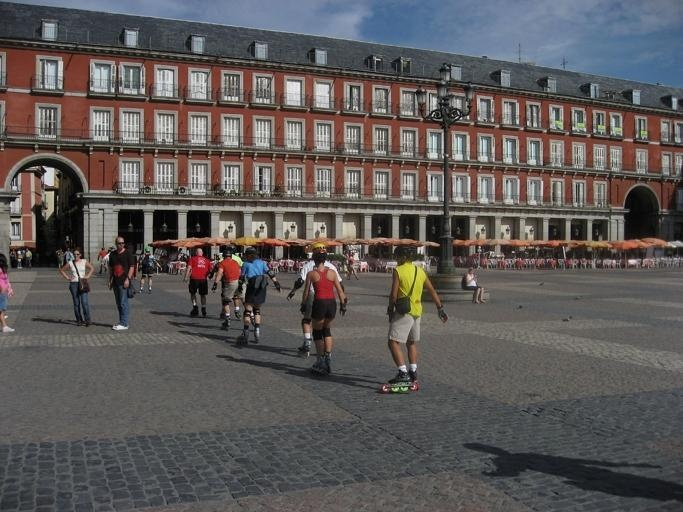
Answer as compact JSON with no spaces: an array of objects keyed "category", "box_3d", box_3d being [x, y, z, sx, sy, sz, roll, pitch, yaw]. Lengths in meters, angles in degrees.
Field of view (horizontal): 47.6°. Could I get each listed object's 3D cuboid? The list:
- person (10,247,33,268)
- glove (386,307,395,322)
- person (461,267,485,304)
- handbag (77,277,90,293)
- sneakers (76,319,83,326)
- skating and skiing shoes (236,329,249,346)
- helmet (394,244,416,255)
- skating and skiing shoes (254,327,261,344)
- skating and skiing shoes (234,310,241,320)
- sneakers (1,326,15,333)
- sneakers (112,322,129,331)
[{"category":"person","box_3d":[-24.176,0.152,58.117,1.402,2.169,0.664,6,12,42]},{"category":"glove","box_3d":[0.785,0.881,11.709,0.091,0.228,0.131,0,4,2]},{"category":"person","box_3d":[4.310,0.899,24.799,0.746,1.140,1.346,1,4,9]},{"category":"handbag","box_3d":[-6.007,0.675,17.922,0.179,0.386,0.431,-11,-8,26]},{"category":"sneakers","box_3d":[-6.076,1.550,17.898,0.175,0.096,0.166,2,-1,-12]},{"category":"skating and skiing shoes","box_3d":[-1.974,1.652,15.563,0.142,0.162,0.407,-1,3,-24]},{"category":"helmet","box_3d":[1.017,-0.093,12.010,0.272,0.131,0.309,0,0,3]},{"category":"skating and skiing shoes","box_3d":[-1.703,1.627,15.635,0.118,0.144,0.361,1,-37,-11]},{"category":"skating and skiing shoes","box_3d":[-2.609,1.497,19.472,0.140,0.161,0.395,-4,-14,-4]},{"category":"sneakers","box_3d":[-7.154,1.597,16.640,0.320,0.124,0.106,0,5,-11]},{"category":"sneakers","box_3d":[-4.903,1.588,17.093,0.371,0.133,0.130,4,-2,1]}]
